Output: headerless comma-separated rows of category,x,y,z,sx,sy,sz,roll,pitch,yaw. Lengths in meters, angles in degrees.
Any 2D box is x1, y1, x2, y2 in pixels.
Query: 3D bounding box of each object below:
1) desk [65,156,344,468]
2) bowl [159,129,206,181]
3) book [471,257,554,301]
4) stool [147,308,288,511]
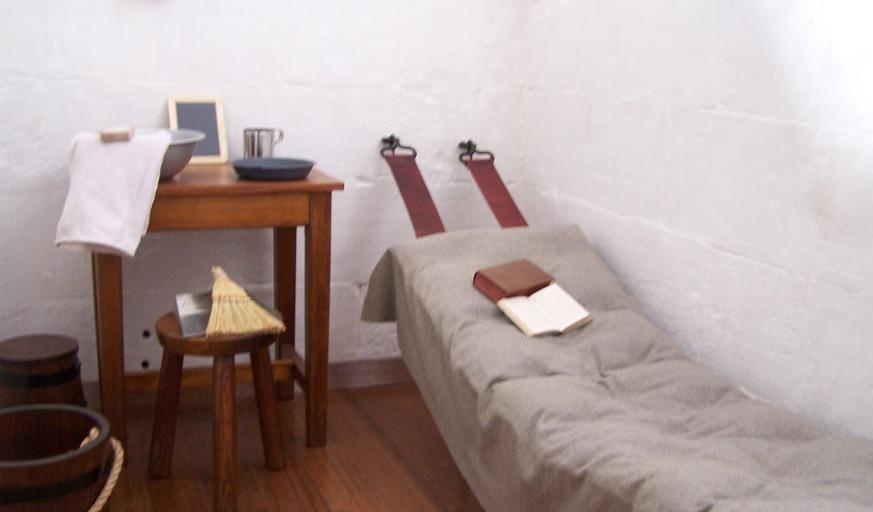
desk,-0.901,0.206,2.457,0.912,0.966,0.676,-2,4,-27
bowl,-0.949,-0.352,2.309,0.189,0.077,0.188,-1,22,0
book,0.279,0.082,2.232,0.174,0.041,0.171,-13,31,-26
stool,-0.822,0.512,2.227,0.500,0.569,0.373,14,28,25
